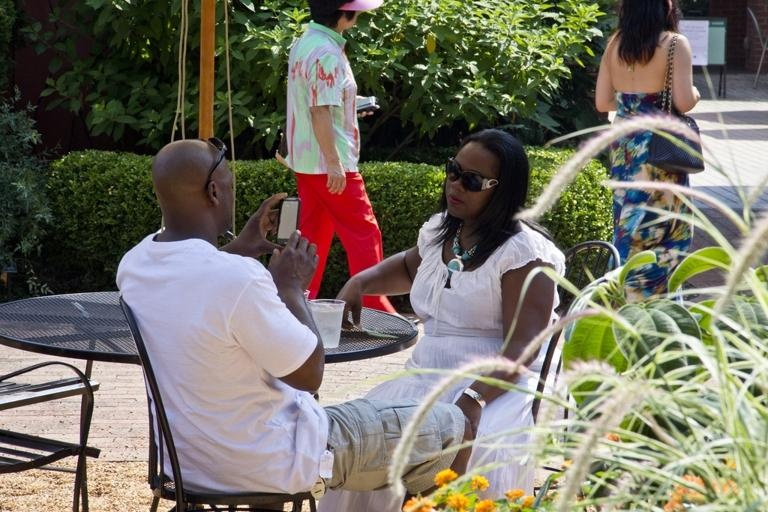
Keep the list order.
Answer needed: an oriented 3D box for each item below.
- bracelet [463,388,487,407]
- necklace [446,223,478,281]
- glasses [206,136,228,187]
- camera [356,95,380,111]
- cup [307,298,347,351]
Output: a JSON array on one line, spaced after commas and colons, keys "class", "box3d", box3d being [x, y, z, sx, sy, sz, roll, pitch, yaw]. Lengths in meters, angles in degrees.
[{"class": "bracelet", "box3d": [0.376, 0.567, 3.899, 0.088, 0.060, 0.090, 40, -4, -14]}, {"class": "necklace", "box3d": [0.349, -0.029, 4.124, 0.089, 0.237, 0.048, 8, -24, 36]}, {"class": "glasses", "box3d": [-0.631, -0.364, 3.578, 0.049, 0.187, 0.172, 20, -2, -25]}, {"class": "camera", "box3d": [-0.100, -1.023, 6.154, 0.157, 0.041, 0.094, -8, -24, 3]}, {"class": "cup", "box3d": [-0.241, 0.298, 4.085, 0.171, 0.199, 0.178, -1, 3, 0]}]
